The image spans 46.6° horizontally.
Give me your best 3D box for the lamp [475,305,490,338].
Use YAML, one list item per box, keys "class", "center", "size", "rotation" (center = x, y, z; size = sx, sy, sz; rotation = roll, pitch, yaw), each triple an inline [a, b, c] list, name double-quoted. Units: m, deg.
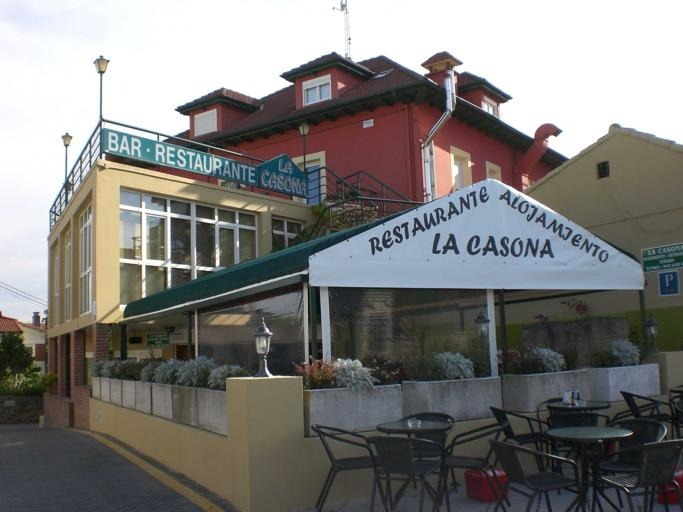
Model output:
- class: "lamp"
  center: [2.922, 1.369, 16.414]
  size: [0.279, 0.643, 0.383]
  rotation: [-5, -8, 16]
